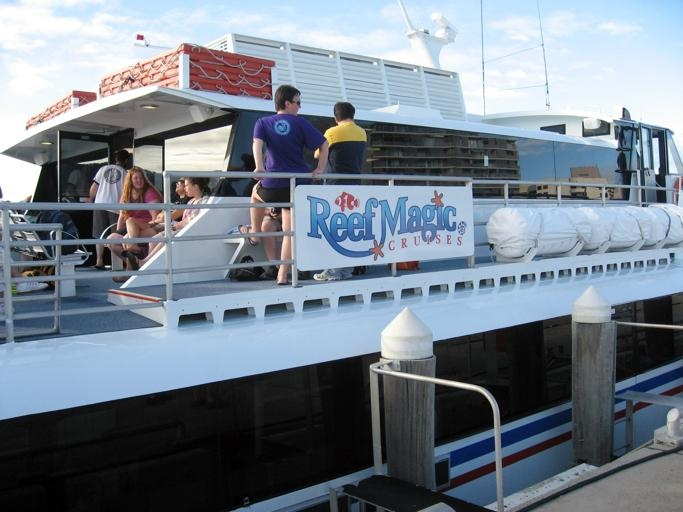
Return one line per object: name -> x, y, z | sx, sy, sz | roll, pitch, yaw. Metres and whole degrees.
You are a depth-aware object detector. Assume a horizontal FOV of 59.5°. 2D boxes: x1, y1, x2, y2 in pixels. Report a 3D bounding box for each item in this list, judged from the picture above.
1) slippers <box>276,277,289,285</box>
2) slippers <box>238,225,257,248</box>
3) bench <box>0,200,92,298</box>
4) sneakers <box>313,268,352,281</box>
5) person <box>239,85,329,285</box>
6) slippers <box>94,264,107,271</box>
slippers -> -0.540, 0.238, 5.428 | 0.046, 0.042, 0.132 | -4, -9, 24
slippers -> -0.979, -0.244, 6.220 | 0.170, 0.347, 0.090 | -16, -37, -16
bench -> -3.397, -0.006, 6.967 | 0.554, 0.587, 1.611 | 9, -2, -36
sneakers -> -0.050, 0.189, 5.862 | 0.419, 0.142, 0.130 | 3, -6, -19
person -> -0.531, -0.721, 5.806 | 0.812, 1.914, 1.185 | -1, 4, -3
slippers -> -3.294, 0.160, 8.151 | 0.262, 0.074, 0.088 | 5, 3, 37
